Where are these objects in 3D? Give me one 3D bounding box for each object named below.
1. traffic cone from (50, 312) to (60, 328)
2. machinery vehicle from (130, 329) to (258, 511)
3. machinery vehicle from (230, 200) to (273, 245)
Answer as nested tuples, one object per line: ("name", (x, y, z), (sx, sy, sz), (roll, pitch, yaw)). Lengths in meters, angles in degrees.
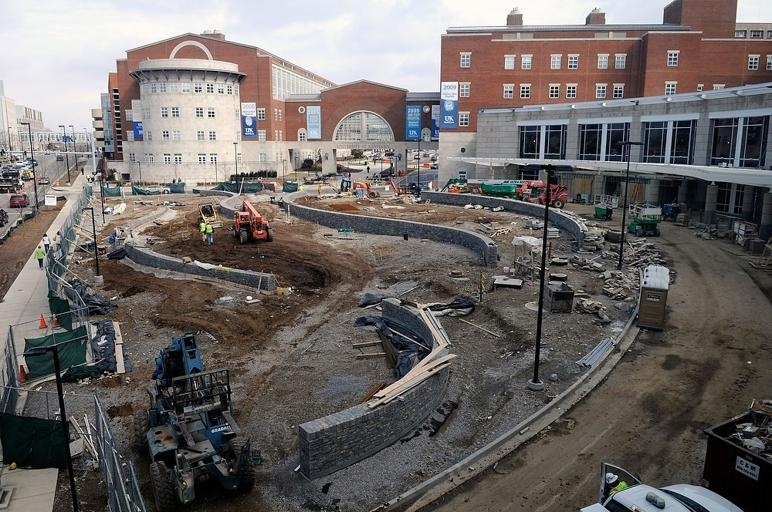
("traffic cone", (-19.072, 3.623, 28.154), (0.395, 0.767, 0.975), (-8, 13, -33))
("machinery vehicle", (-6.776, 5.575, 16.960), (2.852, 4.907, 4.324), (-10, 14, -37))
("machinery vehicle", (-12.753, -3.144, 45.566), (2.731, 2.092, 5.551), (-3, 23, -22))
